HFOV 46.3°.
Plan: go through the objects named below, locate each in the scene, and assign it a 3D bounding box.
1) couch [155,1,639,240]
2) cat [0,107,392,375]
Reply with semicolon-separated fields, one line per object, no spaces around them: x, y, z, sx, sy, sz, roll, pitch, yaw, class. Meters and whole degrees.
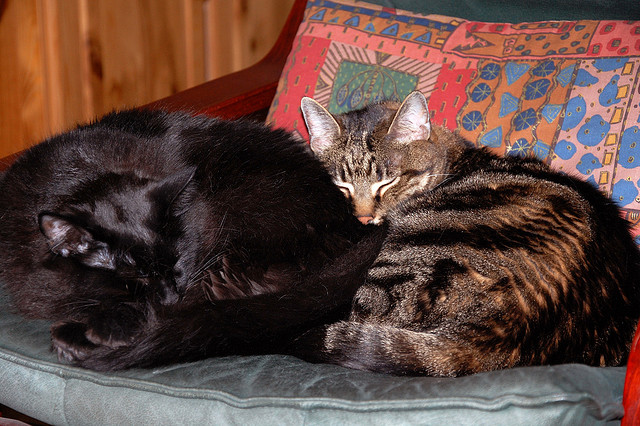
0.323;-0.135;2.192;1.088;0.892;0.749;11;11;20;couch
-0.315;0.095;1.726;0.776;0.290;0.548;6;42;-15;cat
